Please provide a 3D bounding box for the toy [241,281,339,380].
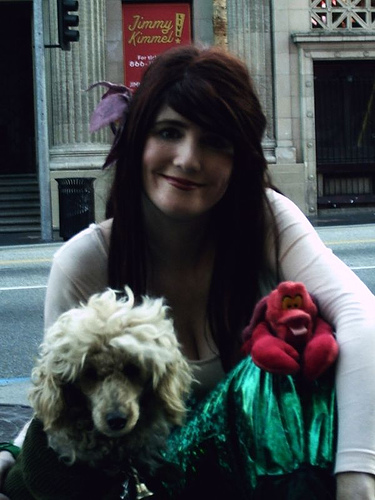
[{"bbox_3d":[0.257,0.224,1.703,0.250,0.267,0.193,-7,-23,8],"label":"toy"}]
